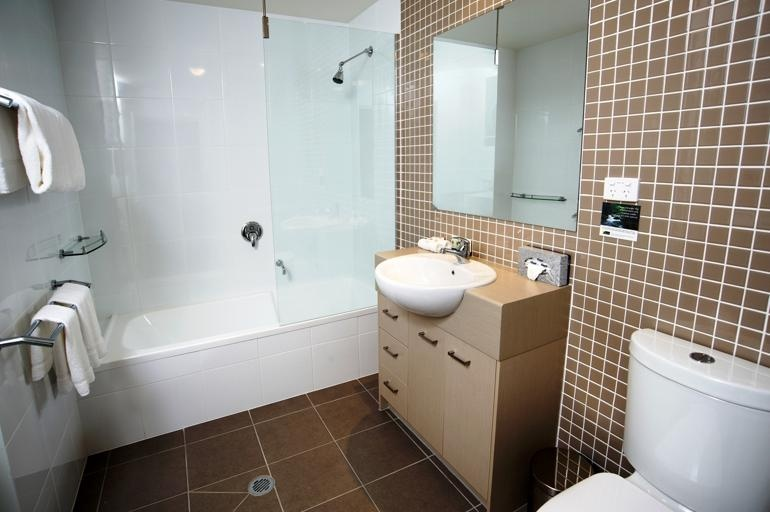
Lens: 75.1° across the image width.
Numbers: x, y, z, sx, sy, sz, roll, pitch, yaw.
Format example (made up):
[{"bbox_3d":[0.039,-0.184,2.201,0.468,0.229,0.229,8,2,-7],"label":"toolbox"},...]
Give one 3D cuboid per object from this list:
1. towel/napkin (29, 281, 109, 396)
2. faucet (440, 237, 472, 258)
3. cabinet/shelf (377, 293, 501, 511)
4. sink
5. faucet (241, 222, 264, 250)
[{"bbox_3d":[-1.775,0.474,2.784,0.315,0.411,0.658,-2,15,-18],"label":"towel/napkin"},{"bbox_3d":[0.446,-0.053,3.118,0.145,0.105,0.147,0,9,-19],"label":"faucet"},{"bbox_3d":[0.334,0.859,2.896,0.402,0.916,1.039,-4,13,-28],"label":"cabinet/shelf"},{"bbox_3d":[0.261,0.150,2.946,0.414,0.188,0.520,-7,15,-26],"label":"sink"},{"bbox_3d":[-1.122,-0.169,4.259,0.174,0.220,0.080,-7,11,-22],"label":"faucet"}]
